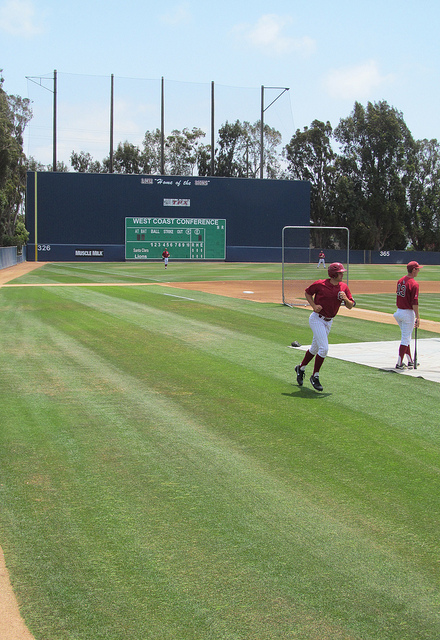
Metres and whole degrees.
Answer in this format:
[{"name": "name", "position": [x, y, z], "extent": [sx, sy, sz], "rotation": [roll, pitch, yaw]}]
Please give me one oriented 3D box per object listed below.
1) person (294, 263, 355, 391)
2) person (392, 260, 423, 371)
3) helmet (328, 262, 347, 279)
[{"name": "person", "position": [1.655, 0.097, 8.861], "extent": [0.867, 2.012, 1.267], "rotation": [1, 4, 9]}, {"name": "person", "position": [3.333, -0.042, 9.927], "extent": [0.401, 1.954, 0.815], "rotation": [2, 4, 18]}, {"name": "helmet", "position": [1.751, -0.752, 8.321], "extent": [0.257, 0.165, 0.184], "rotation": [-4, 2, 30]}]
